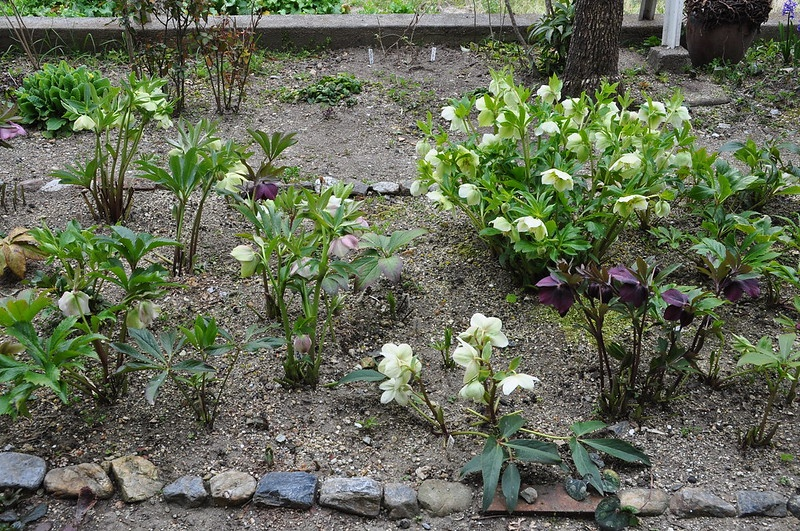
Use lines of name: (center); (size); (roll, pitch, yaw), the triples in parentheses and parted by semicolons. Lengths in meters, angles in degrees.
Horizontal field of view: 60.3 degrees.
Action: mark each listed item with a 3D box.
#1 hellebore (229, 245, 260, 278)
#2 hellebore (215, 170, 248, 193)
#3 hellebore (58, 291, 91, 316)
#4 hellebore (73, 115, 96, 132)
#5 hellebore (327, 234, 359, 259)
hellebore: (-0.837, -0.018, 3.688); (0.185, 0.176, 0.085); (9, -25, -36)
hellebore: (-1.003, -0.501, 4.157); (0.155, 0.064, 0.158); (-8, 18, 7)
hellebore: (-1.676, 0.192, 3.542); (0.147, 0.143, 0.052); (0, -13, -20)
hellebore: (-1.937, -0.880, 4.214); (0.125, 0.089, 0.156); (-13, 32, -23)
hellebore: (-0.310, -0.071, 3.777); (0.137, 0.065, 0.140); (20, 45, 39)
